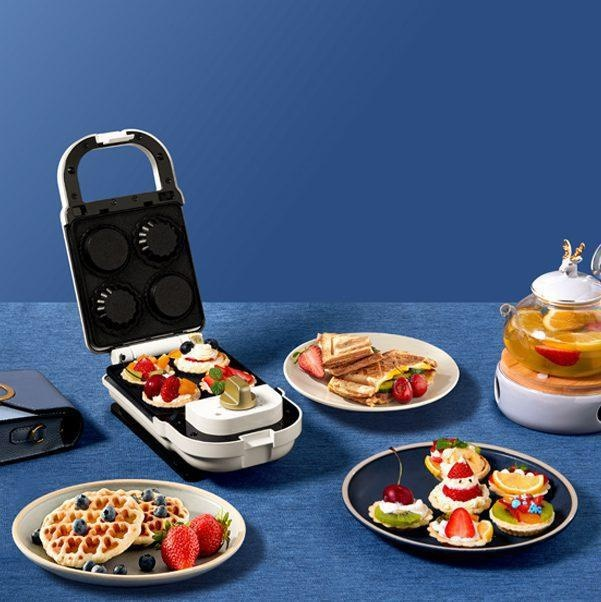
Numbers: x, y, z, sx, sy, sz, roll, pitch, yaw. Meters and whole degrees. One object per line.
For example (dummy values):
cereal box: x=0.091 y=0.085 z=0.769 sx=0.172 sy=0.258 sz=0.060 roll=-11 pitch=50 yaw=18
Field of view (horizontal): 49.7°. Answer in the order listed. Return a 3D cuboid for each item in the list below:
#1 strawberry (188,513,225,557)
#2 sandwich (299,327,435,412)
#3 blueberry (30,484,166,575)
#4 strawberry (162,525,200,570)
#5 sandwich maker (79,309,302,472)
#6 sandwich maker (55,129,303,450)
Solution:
strawberry: x=-0.121 y=0.307 z=0.855 sx=0.060 sy=0.048 sz=0.048 roll=-13 pitch=-13 yaw=5
sandwich: x=0.132 y=0.120 z=1.340 sx=0.263 sy=0.071 sz=0.207 roll=26 pitch=38 yaw=29
blueberry: x=-0.266 y=0.306 z=0.855 sx=0.124 sy=0.033 sz=0.087 roll=-19 pitch=32 yaw=-39
strawberry: x=-0.139 y=0.303 z=0.805 sx=0.052 sy=0.058 sz=0.046 roll=-3 pitch=62 yaw=-4
sandwich maker: x=-0.222 y=0.130 z=1.230 sx=0.226 sy=0.202 sz=0.530 roll=-16 pitch=25 yaw=-33
sandwich maker: x=-0.158 y=-0.034 z=1.630 sx=0.383 sy=0.772 sz=0.635 roll=-14 pitch=31 yaw=-20
